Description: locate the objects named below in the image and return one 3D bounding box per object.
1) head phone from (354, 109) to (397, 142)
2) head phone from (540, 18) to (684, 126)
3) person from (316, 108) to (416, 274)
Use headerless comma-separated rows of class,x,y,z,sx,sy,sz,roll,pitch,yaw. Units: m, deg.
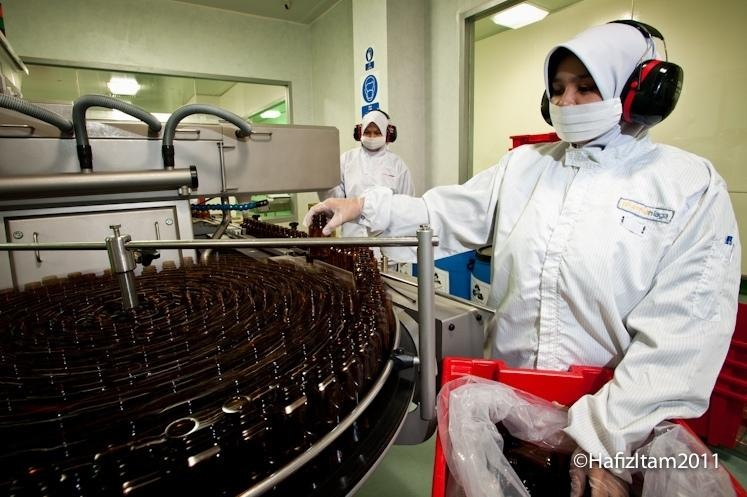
head phone,0.006,-0.994,3.719,0.351,0.272,0.329,0,0,-6
head phone,0.805,-0.589,1.539,0.180,0.331,0.415,-6,14,-26
person,-0.097,-0.349,3.780,0.873,1.382,0.593,-8,18,-24
